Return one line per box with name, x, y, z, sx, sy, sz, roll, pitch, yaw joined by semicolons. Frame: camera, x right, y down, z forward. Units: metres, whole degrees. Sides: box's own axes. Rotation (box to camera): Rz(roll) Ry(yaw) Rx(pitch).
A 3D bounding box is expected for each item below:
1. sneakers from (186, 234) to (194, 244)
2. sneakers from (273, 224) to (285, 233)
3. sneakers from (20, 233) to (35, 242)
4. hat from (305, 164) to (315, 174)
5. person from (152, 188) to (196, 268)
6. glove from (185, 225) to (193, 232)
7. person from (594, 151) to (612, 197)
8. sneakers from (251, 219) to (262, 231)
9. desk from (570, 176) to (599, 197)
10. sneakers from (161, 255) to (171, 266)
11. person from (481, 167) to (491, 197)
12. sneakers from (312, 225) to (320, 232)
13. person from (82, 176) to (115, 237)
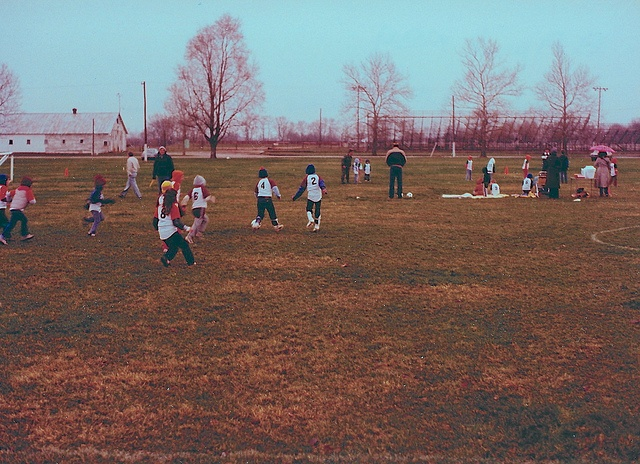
sneakers;-3.013;0.178;14.238;0.122;0.118;0.267;29;-4;16
sneakers;-1.040;-0.107;15.869;0.100;0.132;0.313;-1;17;25
sneakers;-6.769;0.113;14.256;0.323;0.137;0.110;-19;28;-9
hat;-0.256;-1.615;15.758;0.199;0.245;0.282;0;0;-1
person;-2.824;-0.093;12.014;0.719;1.590;0.932;-3;10;-15
glove;-2.837;-0.064;13.184;0.150;0.172;0.400;-7;1;-19
person;10.845;-2.228;23.621;0.588;1.733;0.901;4;11;24
sneakers;-1.648;-0.181;15.745;0.217;0.151;0.292;-1;-12;-2
desk;11.128;-1.902;25.841;1.084;0.743;0.589;-2;8;-8
sneakers;-3.035;0.603;12.025;0.094;0.248;0.107;-8;15;32
person;6.554;-1.998;24.187;0.311;1.092;1.401;3;11;15
sneakers;-0.106;-0.087;16.116;0.158;0.252;0.147;-1;11;1
person;-5.577;-0.747;15.401;0.649;1.512;4.055;-3;11;-20
